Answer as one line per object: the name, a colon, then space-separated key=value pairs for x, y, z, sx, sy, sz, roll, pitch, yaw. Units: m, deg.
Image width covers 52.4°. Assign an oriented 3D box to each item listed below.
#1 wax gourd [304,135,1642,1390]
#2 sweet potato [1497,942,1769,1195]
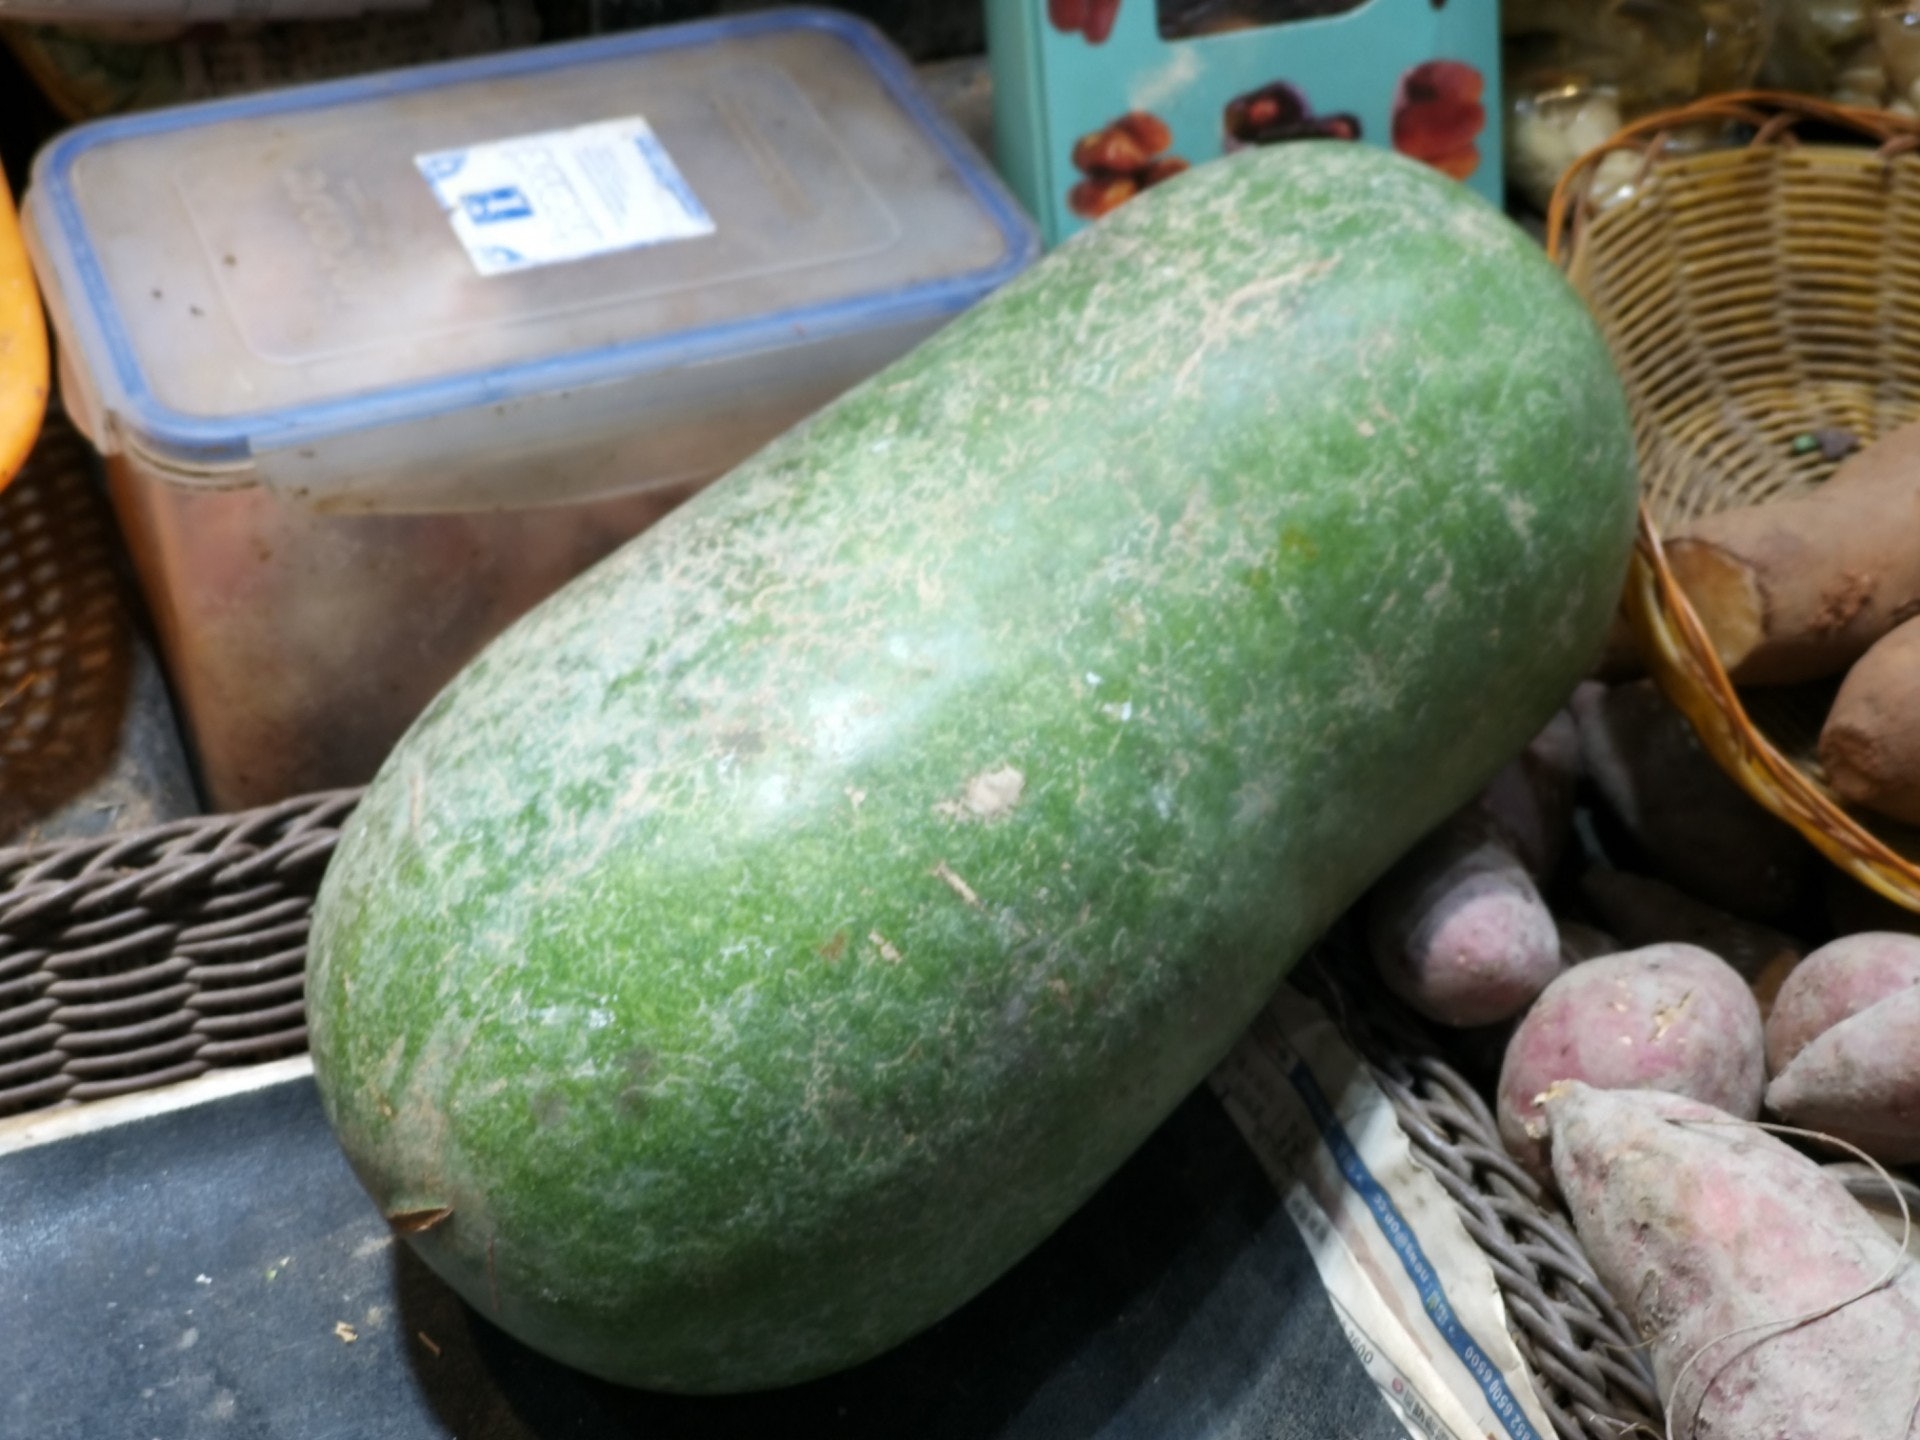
wax gourd: x=0.010 y=0.028 z=1.119 sx=0.694 sy=0.534 sz=0.692 roll=-21 pitch=53 yaw=-12
sweet potato: x=0.341 y=0.148 z=1.012 sx=0.092 sy=0.132 sz=0.109 roll=-8 pitch=20 yaw=-28
